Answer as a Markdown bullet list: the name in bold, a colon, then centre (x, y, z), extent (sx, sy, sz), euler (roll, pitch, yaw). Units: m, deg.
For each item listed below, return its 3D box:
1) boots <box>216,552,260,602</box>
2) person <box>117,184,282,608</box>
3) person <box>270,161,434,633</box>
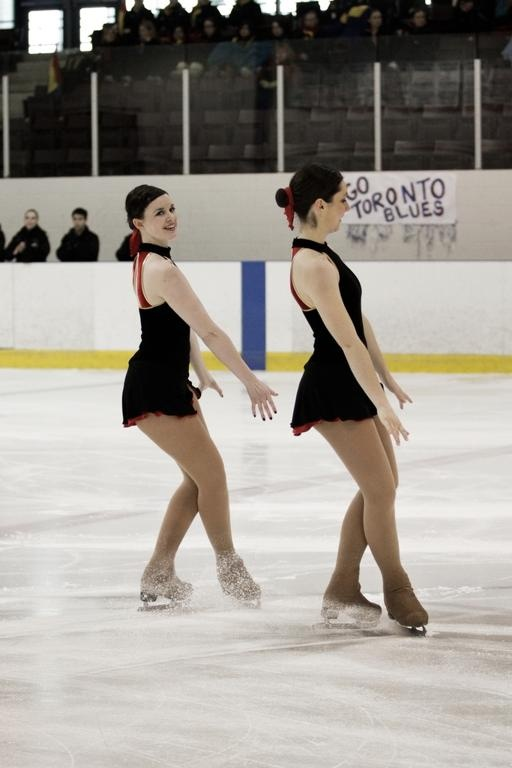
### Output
- **boots**: centre (-0.064, 0.571, 2.783), extent (0.087, 0.169, 0.073), euler (-24, -23, -18)
- **person**: centre (-0.172, 0.052, 2.780), extent (0.432, 1.275, 0.669), euler (0, 8, -8)
- **person**: centre (0.284, 0.048, 2.530), extent (0.408, 1.260, 0.594), euler (-1, 9, -13)
